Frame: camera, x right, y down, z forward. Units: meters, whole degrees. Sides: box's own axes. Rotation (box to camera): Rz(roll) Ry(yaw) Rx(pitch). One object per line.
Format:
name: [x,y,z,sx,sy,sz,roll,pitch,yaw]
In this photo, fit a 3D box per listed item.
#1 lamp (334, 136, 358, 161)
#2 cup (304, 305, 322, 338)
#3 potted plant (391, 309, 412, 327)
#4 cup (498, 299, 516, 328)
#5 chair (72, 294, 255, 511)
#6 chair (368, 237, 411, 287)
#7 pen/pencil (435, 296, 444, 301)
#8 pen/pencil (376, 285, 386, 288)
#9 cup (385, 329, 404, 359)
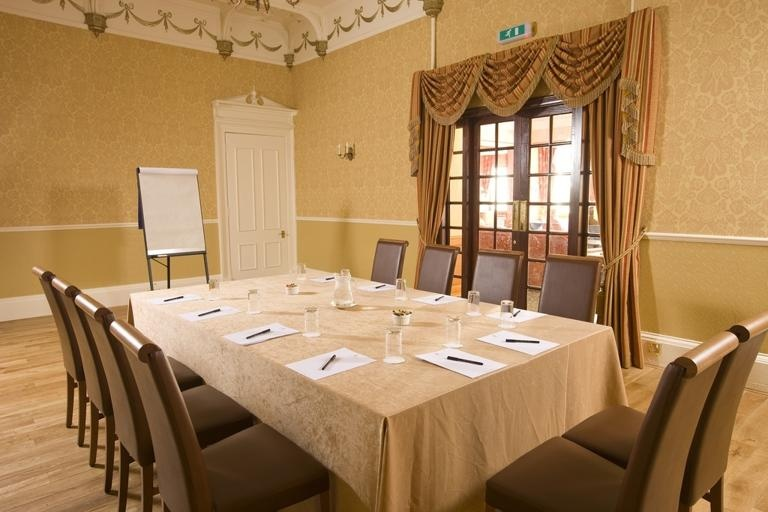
lamp: [-0.535,-1.498,7.514,0.357,0.311,0.236,4,6,38]
cup: [-0.445,0.445,3.463,0.150,0.182,0.156,1,0,0]
potted plant: [0.109,0.424,3.590,0.102,0.077,0.107,1,-2,-34]
cup: [0.806,0.387,3.483,0.144,0.217,0.148,0,0,0]
chair: [-1.341,0.926,3.186,0.915,1.563,0.881,-10,19,-34]
chair: [0.042,0.050,5.231,0.338,0.671,0.443,9,8,43]
pen/pencil: [0.437,0.334,4.175,0.024,0.027,0.106,3,12,33]
pen/pencil: [-0.032,0.257,4.587,0.023,0.019,0.132,6,9,33]
cup: [0.058,0.518,3.140,0.132,0.170,0.148,0,2,24]
